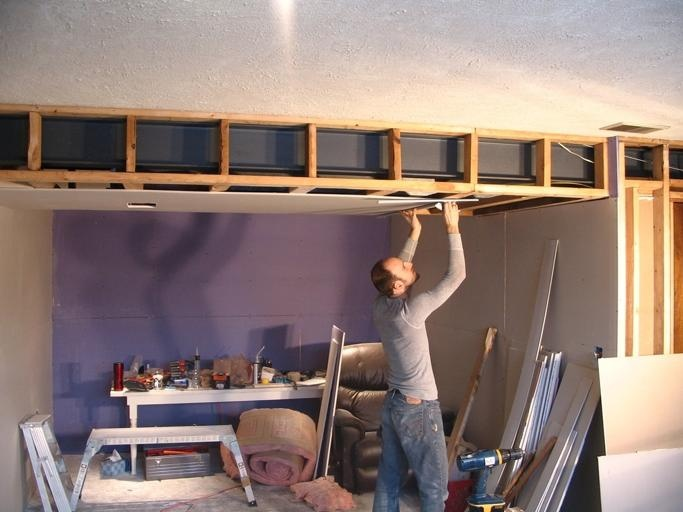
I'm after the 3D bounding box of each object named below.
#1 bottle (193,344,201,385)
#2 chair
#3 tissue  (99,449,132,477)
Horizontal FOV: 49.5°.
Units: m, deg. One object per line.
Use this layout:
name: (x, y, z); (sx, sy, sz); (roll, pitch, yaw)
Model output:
bottle: (-1.494, 1.140, 7.608); (0.081, 0.315, 0.502); (-3, 6, -10)
chair: (0.332, 1.539, 7.065); (0.887, 1.335, 0.950); (0, -7, 2)
tissue : (-2.210, 2.028, 7.188); (0.191, 0.216, 0.264); (5, -8, -12)
